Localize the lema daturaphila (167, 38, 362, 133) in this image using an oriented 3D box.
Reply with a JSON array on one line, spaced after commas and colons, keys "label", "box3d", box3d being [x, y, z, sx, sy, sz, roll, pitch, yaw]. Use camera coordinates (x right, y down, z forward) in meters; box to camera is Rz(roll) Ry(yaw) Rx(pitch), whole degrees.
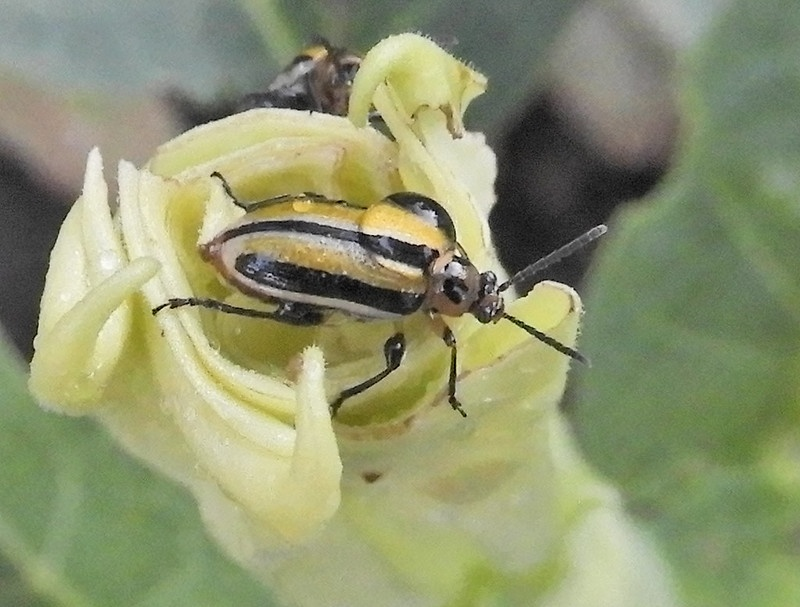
[{"label": "lema daturaphila", "box3d": [-0.200, -0.388, 1.891, 0.346, 0.242, 0.107, -17, 93, -5]}]
